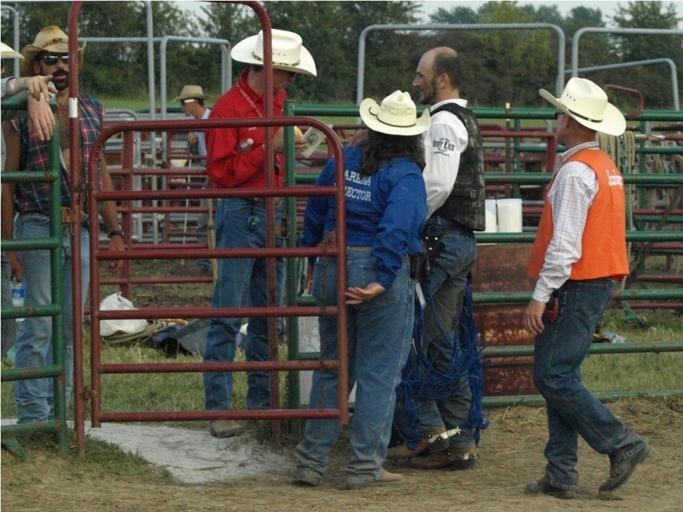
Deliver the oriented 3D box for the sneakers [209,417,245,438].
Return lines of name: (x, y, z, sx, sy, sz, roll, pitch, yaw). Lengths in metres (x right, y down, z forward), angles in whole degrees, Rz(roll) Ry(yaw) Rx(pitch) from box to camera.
sneakers: (-0.957, 1.429, 13.272, 0.256, 0.082, 0.188, 2, -2, 23)

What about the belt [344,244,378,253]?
belt: (0.192, -0.080, 12.377, 0.270, 0.052, 0.112, 3, 5, 33)

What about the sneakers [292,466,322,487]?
sneakers: (-0.258, 1.731, 12.561, 0.181, 0.112, 0.177, 7, -6, -5)

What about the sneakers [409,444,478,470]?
sneakers: (0.870, 1.625, 13.072, 0.587, 0.257, 0.194, 3, -1, 4)

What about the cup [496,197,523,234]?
cup: (1.452, -0.370, 13.857, 0.279, 0.300, 0.271, 0, 2, 0)

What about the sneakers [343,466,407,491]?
sneakers: (0.274, 1.743, 12.560, 0.522, 0.197, 0.181, -4, 6, -21)

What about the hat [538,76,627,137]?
hat: (1.931, -1.192, 12.491, 0.543, 0.195, 0.490, 35, 29, 12)

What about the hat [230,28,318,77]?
hat: (-0.524, -1.715, 13.097, 0.512, 0.188, 0.461, 10, 32, -13)

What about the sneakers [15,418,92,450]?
sneakers: (-2.310, 1.368, 12.449, 0.353, 0.135, 0.289, 1, 6, 8)

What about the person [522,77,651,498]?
person: (1.897, 0.217, 12.458, 0.866, 3.277, 0.460, 1, 4, 5)

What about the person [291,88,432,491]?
person: (0.176, 0.236, 12.518, 0.994, 3.138, 0.500, 1, 4, 2)

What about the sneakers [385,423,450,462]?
sneakers: (0.561, 1.540, 13.011, 0.657, 0.272, 0.211, -1, 2, -4)
